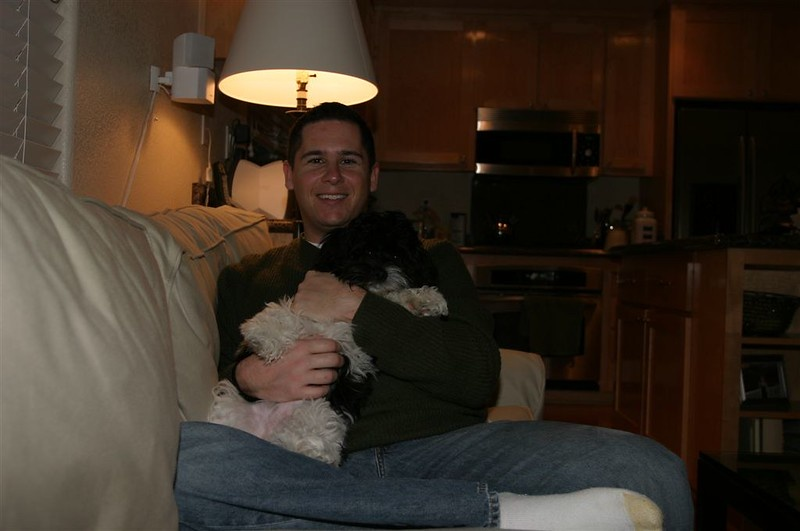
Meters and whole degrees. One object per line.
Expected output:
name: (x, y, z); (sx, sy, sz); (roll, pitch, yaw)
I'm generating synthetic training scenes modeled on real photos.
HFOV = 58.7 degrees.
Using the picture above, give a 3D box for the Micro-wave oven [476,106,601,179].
Micro-wave oven: (1.013, -0.906, 5.480); (0.797, 0.424, 0.541); (1, 4, 2)

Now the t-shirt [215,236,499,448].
t-shirt: (0.041, 0.298, 2.527); (0.709, 0.714, 0.290); (-5, -31, -2)

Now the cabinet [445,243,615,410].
cabinet: (1.023, 0.349, 5.301); (0.877, 0.824, 0.619); (2, 9, 15)

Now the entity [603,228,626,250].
entity: (1.597, -0.202, 5.263); (0.178, 0.173, 0.179); (1, -11, 1)
